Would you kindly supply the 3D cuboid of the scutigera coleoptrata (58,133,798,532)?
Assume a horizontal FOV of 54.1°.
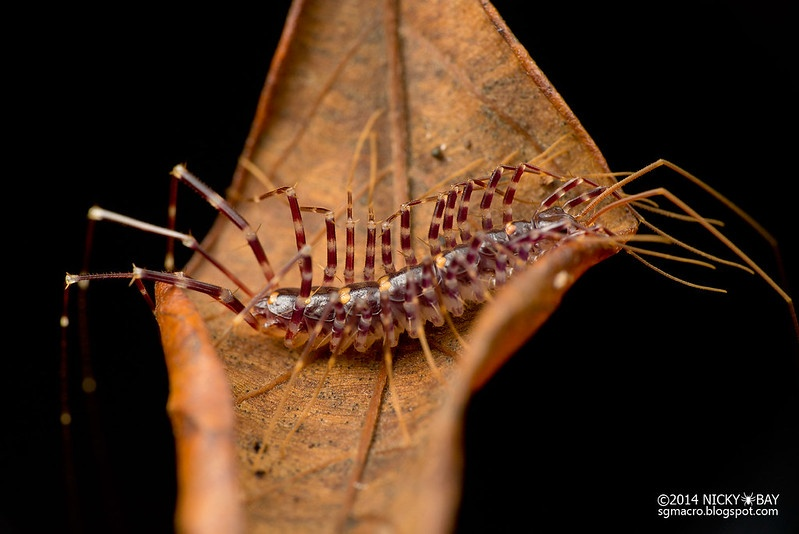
[{"bbox_3d":[-0.070,0.176,2.336,1.733,0.818,0.596,7,15,16],"label":"scutigera coleoptrata"}]
